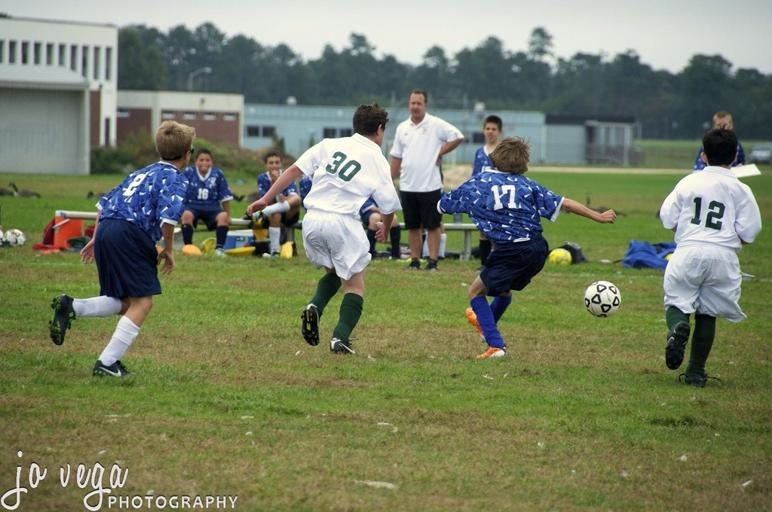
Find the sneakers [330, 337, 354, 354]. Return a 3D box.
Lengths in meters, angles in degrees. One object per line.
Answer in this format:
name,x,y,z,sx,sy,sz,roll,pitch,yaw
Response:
sneakers,-0.549,1.108,15.086,0.380,0.164,0.138,4,4,1

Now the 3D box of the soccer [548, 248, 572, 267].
soccer,2.861,0.015,20.401,0.373,0.300,0.301,10,-23,-22

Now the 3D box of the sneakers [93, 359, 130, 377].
sneakers,-3.178,1.303,14.266,0.513,0.211,0.168,2,2,-5

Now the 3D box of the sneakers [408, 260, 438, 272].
sneakers,0.624,0.145,19.270,0.513,0.210,0.168,3,-2,-9

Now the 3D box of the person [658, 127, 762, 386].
person,3.801,0.013,14.636,1.027,3.060,0.491,2,6,-11

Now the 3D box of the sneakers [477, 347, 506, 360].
sneakers,1.314,1.206,15.128,0.385,0.158,0.134,0,-4,-4

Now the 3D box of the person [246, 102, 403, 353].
person,-0.589,-0.358,15.106,1.508,3.084,1.007,3,6,-1

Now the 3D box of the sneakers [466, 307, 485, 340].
sneakers,1.141,0.860,15.825,0.156,0.455,0.205,-19,37,20

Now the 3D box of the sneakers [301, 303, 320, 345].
sneakers,-0.885,0.823,14.838,0.201,0.492,0.251,3,7,14

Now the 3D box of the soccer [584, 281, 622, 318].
soccer,2.809,0.560,15.927,0.466,0.443,0.454,0,0,2
